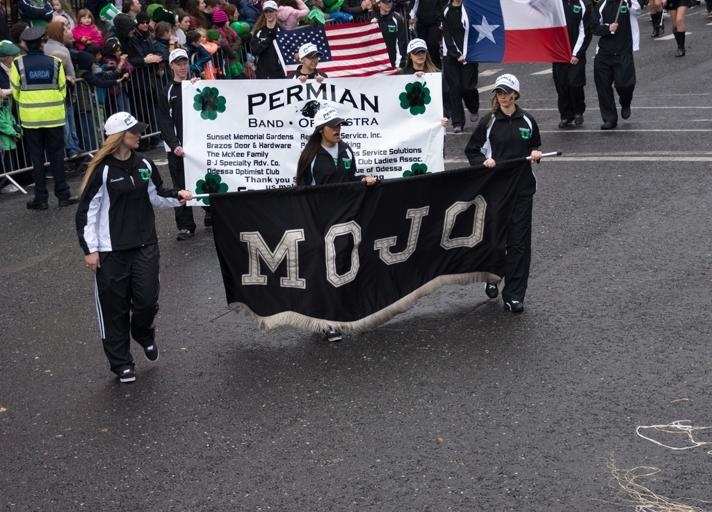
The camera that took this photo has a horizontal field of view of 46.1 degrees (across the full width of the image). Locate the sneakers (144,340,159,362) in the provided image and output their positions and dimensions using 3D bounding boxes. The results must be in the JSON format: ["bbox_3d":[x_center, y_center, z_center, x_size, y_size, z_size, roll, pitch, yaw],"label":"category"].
[{"bbox_3d":[-1.893,0.877,7.820,0.094,0.235,0.098,-21,16,-4],"label":"sneakers"}]

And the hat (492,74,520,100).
[{"bbox_3d":[1.583,-1.765,8.708,0.319,0.235,0.479,10,10,31],"label":"hat"}]

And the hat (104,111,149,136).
[{"bbox_3d":[-2.051,-1.177,7.434,0.348,0.175,0.220,-15,21,-2],"label":"hat"}]

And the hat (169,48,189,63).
[{"bbox_3d":[-2.256,-2.521,10.589,0.188,0.157,0.173,-5,13,6],"label":"hat"}]

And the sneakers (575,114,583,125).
[{"bbox_3d":[4.202,-2.574,15.794,0.091,0.092,0.239,0,36,15],"label":"sneakers"}]

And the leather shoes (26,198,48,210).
[{"bbox_3d":[-4.741,-0.762,12.456,0.309,0.174,0.155,9,16,13],"label":"leather shoes"}]

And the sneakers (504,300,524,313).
[{"bbox_3d":[1.586,0.509,8.452,0.096,0.104,0.252,-6,5,-23],"label":"sneakers"}]

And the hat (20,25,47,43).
[{"bbox_3d":[-4.673,-3.215,12.147,0.323,0.229,0.459,-11,14,-19],"label":"hat"}]

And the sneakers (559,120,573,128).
[{"bbox_3d":[3.911,-2.460,15.692,0.327,0.118,0.118,-2,-26,-1],"label":"sneakers"}]

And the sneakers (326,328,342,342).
[{"bbox_3d":[-0.209,0.772,8.141,0.152,0.115,0.087,-7,13,-3],"label":"sneakers"}]

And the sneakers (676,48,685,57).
[{"bbox_3d":[8.855,-5.560,22.893,0.156,0.185,0.460,3,13,27],"label":"sneakers"}]

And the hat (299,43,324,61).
[{"bbox_3d":[-0.670,-2.635,10.883,0.241,0.169,0.339,-17,8,-38],"label":"hat"}]

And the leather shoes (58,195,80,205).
[{"bbox_3d":[-4.335,-0.841,12.599,0.261,0.182,0.218,-10,14,-16],"label":"leather shoes"}]

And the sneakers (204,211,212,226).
[{"bbox_3d":[-2.059,-0.509,11.576,0.094,0.202,0.428,-8,13,-7],"label":"sneakers"}]

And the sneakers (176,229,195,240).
[{"bbox_3d":[-2.266,-0.285,11.155,0.106,0.105,0.283,3,6,17],"label":"sneakers"}]

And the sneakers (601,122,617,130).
[{"bbox_3d":[4.612,-2.369,15.293,0.348,0.107,0.139,-1,-19,-3],"label":"sneakers"}]

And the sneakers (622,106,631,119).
[{"bbox_3d":[5.108,-2.725,15.906,0.110,0.259,0.185,1,-3,15],"label":"sneakers"}]
